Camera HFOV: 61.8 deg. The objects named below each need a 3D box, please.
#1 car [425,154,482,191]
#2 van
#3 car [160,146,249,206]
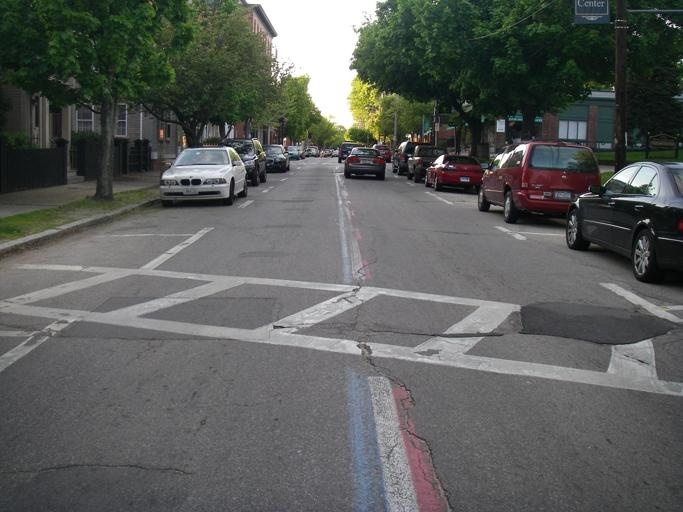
[{"bbox_3d":[5.558,-3.982,28.189,2.165,1.941,3.121,-6,17,-31],"label":"car"},{"bbox_3d":[5.473,-2.353,17.071,1.560,1.631,3.524,0,13,-3],"label":"van"},{"bbox_3d":[-4.922,-2.818,20.501,2.405,1.973,3.055,4,15,5],"label":"car"}]
